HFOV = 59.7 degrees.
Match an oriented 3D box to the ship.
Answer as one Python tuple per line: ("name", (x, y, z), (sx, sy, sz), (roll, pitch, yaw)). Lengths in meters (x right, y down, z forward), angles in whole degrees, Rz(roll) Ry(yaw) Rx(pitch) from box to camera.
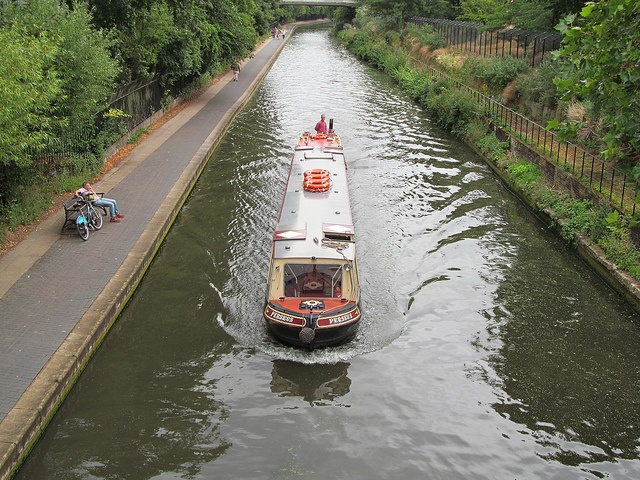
("ship", (-0.174, -0.151, 20.636), (2.065, 2.336, 9.328), (1, 41, 0))

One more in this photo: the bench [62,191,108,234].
("bench", (-9.148, -1.017, 21.576), (0.677, 0.728, 1.730), (1, 38, -4))

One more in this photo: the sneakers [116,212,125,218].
("sneakers", (-8.191, -1.016, 22.729), (0.322, 0.132, 0.105), (6, 34, -38))

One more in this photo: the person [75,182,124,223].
("person", (-8.748, -1.551, 22.427), (1.271, 1.387, 0.977), (-12, 22, 0))
